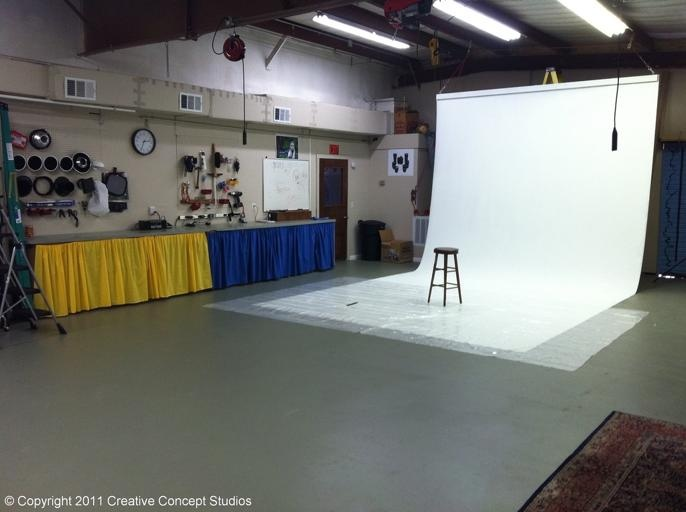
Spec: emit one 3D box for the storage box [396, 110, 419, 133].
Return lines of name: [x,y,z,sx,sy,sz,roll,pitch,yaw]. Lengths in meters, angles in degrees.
storage box: [1.523,-3.230,11.252,0.556,0.549,0.310,1,9,5]

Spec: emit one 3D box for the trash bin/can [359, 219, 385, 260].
trash bin/can: [0.508,-0.375,11.395,0.666,0.978,0.630,-4,1,-8]

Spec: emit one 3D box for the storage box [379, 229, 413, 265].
storage box: [1.195,-0.207,10.947,0.771,0.925,0.626,5,8,39]

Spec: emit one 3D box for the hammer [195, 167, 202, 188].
hammer: [-2.595,-1.391,8.394,0.128,0.370,0.029,-6,11,-33]

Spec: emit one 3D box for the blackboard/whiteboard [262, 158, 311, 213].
blackboard/whiteboard: [-1.231,-1.494,9.779,0.080,1.000,1.037,4,8,43]

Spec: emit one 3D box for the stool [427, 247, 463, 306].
stool: [1.732,0.327,7.596,0.496,0.868,0.499,-3,3,40]

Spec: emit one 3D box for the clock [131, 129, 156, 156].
clock: [-3.276,-1.866,7.629,0.050,0.451,0.397,4,-3,37]
